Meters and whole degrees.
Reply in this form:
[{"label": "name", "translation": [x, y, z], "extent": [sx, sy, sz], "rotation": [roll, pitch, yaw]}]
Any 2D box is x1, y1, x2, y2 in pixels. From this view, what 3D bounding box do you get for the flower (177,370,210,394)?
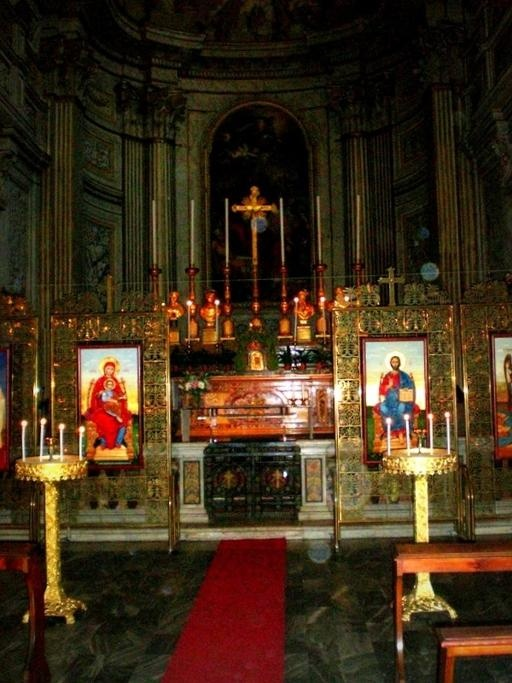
[{"label": "flower", "translation": [-0.703, 0.476, 10.278], "extent": [0.332, 0.197, 0.280], "rotation": [4, 4, -2]}]
